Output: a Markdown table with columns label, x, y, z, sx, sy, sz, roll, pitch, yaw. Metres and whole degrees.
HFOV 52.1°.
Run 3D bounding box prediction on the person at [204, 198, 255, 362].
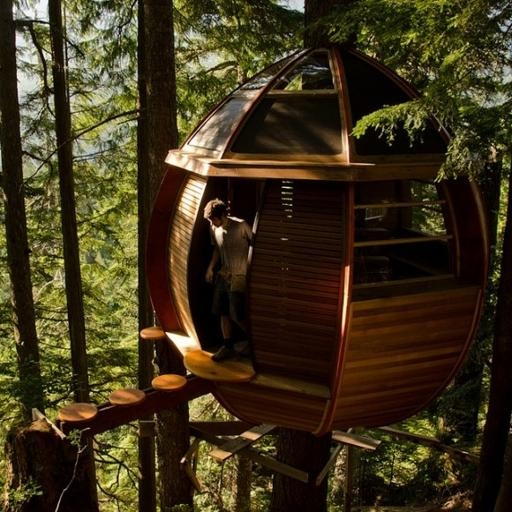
| label | x | y | z | sx | sy | sz | roll | pitch | yaw |
| --- | --- | --- | --- | --- | --- | --- | --- | --- | --- |
| person | -0.358 | 0.314 | 6.750 | 0.596 | 2.054 | 1.385 | -2 | 4 | -6 |

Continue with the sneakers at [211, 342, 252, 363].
| label | x | y | z | sx | sy | sz | roll | pitch | yaw |
| --- | --- | --- | --- | --- | --- | --- | --- | --- | --- |
| sneakers | -0.417 | 1.255 | 6.836 | 0.659 | 0.215 | 0.210 | -1 | 0 | -23 |

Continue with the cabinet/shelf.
| label | x | y | z | sx | sy | sz | roll | pitch | yaw |
| --- | --- | --- | --- | --- | --- | --- | --- | --- | --- |
| cabinet/shelf | 2.143 | -0.291 | 7.664 | 1.382 | 1.287 | 5.148 | 0 | 4 | 11 |
